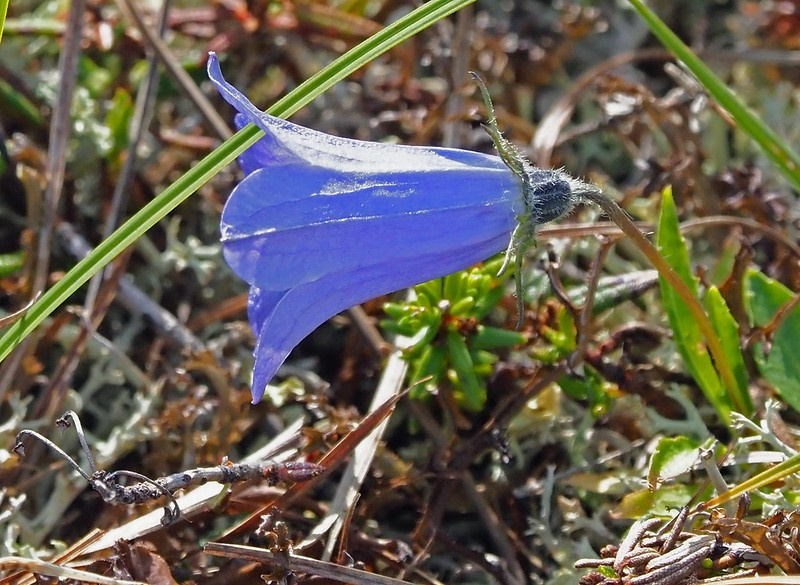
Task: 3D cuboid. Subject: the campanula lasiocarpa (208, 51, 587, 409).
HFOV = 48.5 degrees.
[{"bbox_3d":[-0.019,-0.081,1.549,0.562,0.462,0.493,-2,-4,-7],"label":"campanula lasiocarpa"}]
